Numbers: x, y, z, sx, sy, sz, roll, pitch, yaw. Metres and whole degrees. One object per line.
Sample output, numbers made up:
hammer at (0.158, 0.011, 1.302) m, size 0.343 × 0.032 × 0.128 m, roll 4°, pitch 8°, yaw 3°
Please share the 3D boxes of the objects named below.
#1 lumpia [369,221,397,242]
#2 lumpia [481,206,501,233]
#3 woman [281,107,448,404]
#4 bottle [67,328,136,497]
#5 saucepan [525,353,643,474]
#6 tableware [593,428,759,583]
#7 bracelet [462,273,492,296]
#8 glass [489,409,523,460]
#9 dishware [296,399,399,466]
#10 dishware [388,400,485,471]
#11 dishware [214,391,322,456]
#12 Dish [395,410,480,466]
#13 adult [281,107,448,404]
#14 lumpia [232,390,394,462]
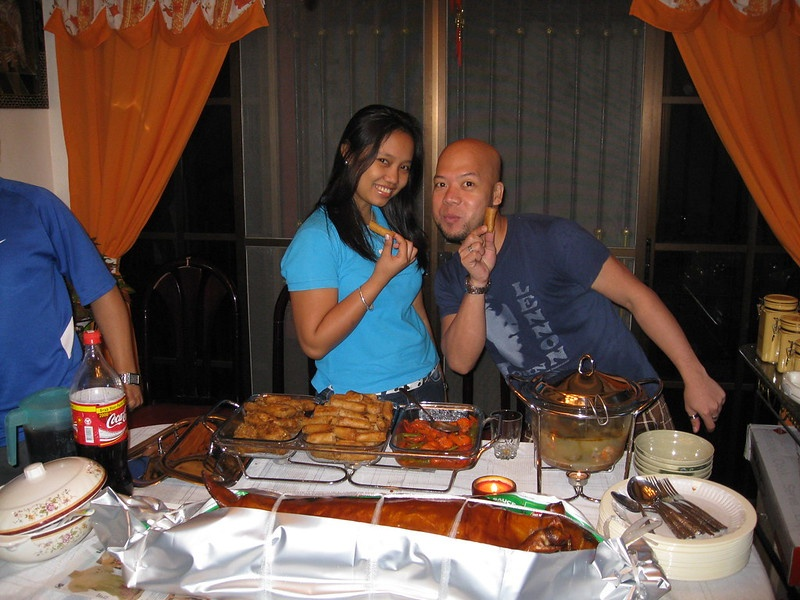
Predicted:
lumpia at (-0.070, -0.254, 2.174) m, size 0.123 × 0.035 × 0.028 m, roll 19°, pitch 30°, yaw -55°
lumpia at (0.323, -0.286, 2.091) m, size 0.045 × 0.093 × 0.106 m, roll 1°, pitch 5°, yaw 11°
woman at (-0.099, -0.153, 2.201) m, size 0.658 × 1.133 × 0.445 m, roll -4°, pitch 6°, yaw -39°
bottle at (-0.759, 0.285, 1.484) m, size 0.134 × 0.424 × 0.254 m, roll -3°, pitch 6°, yaw -30°
saucepan at (0.462, 0.278, 1.579) m, size 0.303 × 0.300 × 0.291 m, roll 0°, pitch 6°, yaw 3°
tableware at (0.614, 0.511, 1.321) m, size 0.331 × 0.155 × 0.271 m, roll 1°, pitch 5°, yaw 15°
bracelet at (0.279, -0.055, 2.080) m, size 0.067 × 0.043 × 0.077 m, roll 2°, pitch -1°, yaw -24°
glass at (0.302, 0.384, 1.694) m, size 0.091 × 0.134 × 0.098 m, roll 0°, pitch 5°, yaw 8°
dishware at (-0.147, 0.363, 1.648) m, size 0.240 × 0.156 × 0.254 m, roll 0°, pitch 5°, yaw 8°
dishware at (0.109, 0.382, 1.650) m, size 0.275 × 0.089 × 0.320 m, roll 4°, pitch 19°, yaw 26°
dishware at (-0.343, 0.348, 1.640) m, size 0.221 × 0.085 × 0.318 m, roll 3°, pitch 16°, yaw 1°
Dish at (0.103, 0.390, 1.648) m, size 0.269 × 0.112 × 0.266 m, roll -1°, pitch 5°, yaw -1°
adult at (-0.099, -0.153, 2.201) m, size 0.658 × 1.133 × 0.445 m, roll -4°, pitch 6°, yaw -39°
lumpia at (-0.234, 0.351, 1.610) m, size 0.304 × 0.108 × 0.209 m, roll 1°, pitch 14°, yaw 7°
